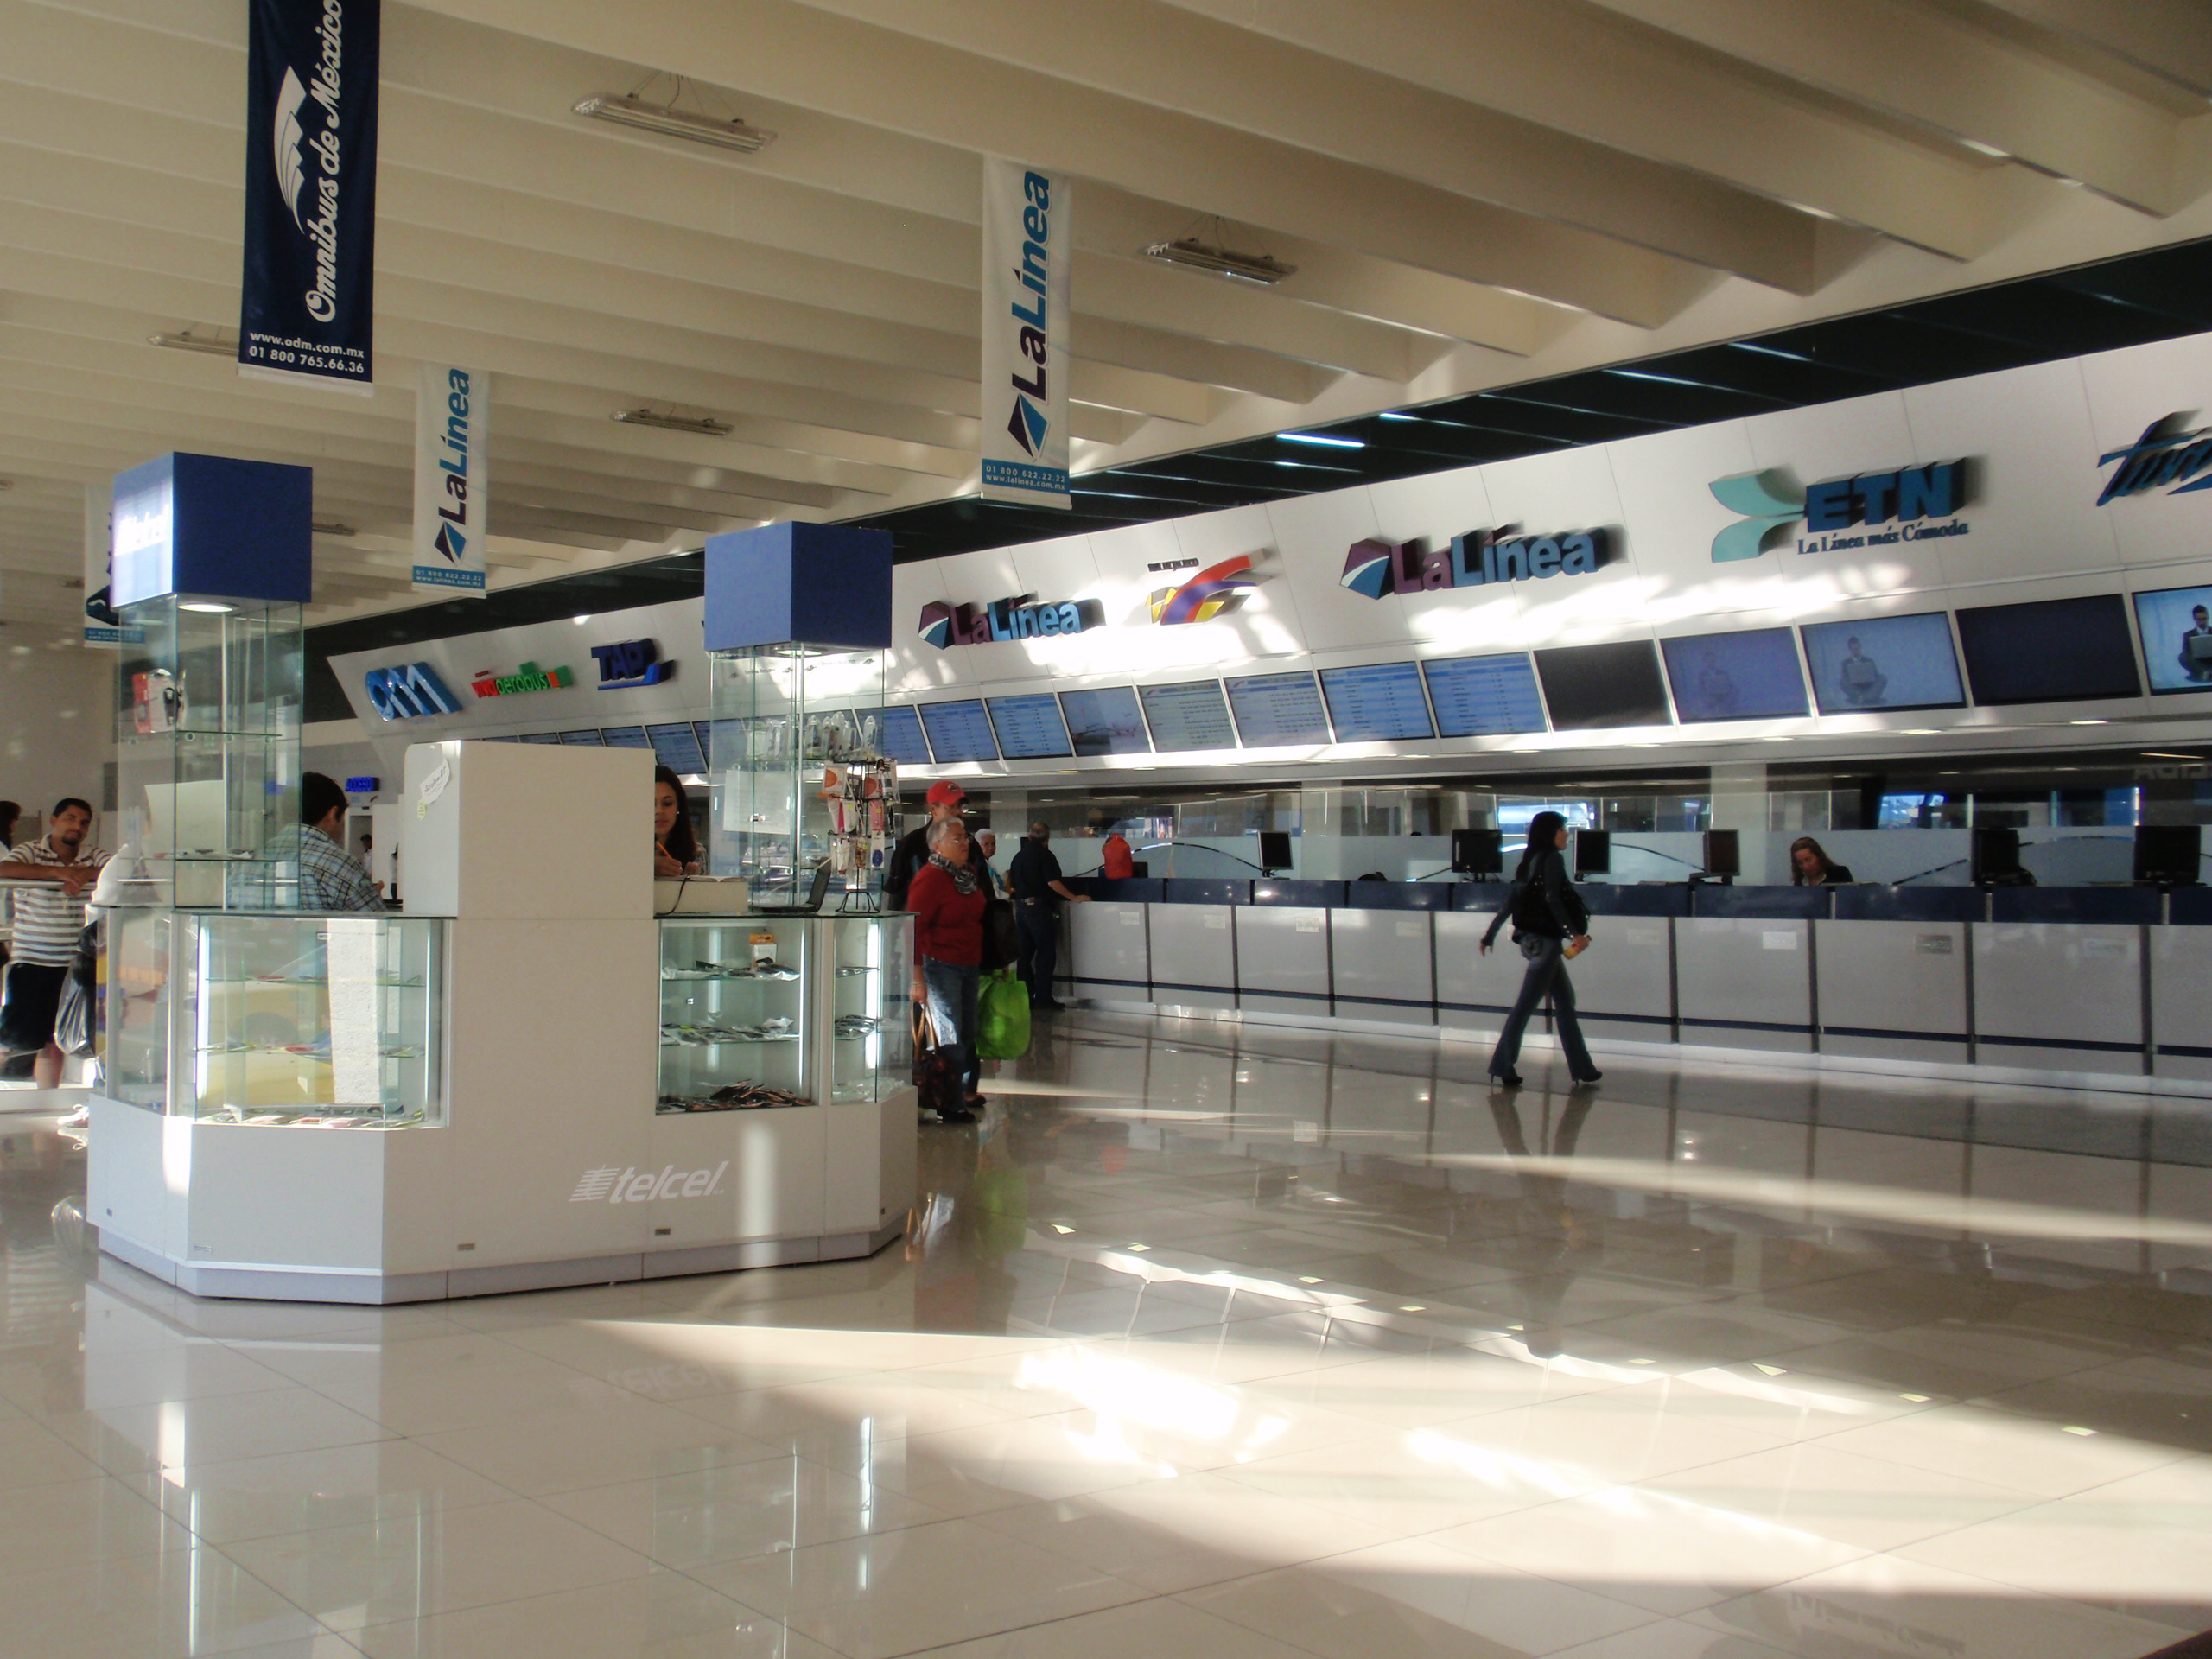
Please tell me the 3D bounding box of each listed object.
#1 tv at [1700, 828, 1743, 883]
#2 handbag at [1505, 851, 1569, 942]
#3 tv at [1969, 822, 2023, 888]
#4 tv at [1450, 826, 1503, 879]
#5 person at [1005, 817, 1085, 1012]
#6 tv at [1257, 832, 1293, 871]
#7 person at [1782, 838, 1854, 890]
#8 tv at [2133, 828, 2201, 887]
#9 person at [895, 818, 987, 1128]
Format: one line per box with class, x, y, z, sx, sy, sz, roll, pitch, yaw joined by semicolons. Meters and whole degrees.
tv;5.558;0.215;14.270;0.313;0.430;0.192;0;-1;16
handbag;3.225;0.497;11.651;0.524;0.609;0.227;0;-1;16
tv;7.140;0.198;12.579;0.394;0.430;0.354;0;-1;27
tv;3.664;0.237;15.614;0.579;0.472;0.281;-1;-2;30
person;-0.714;1.017;17.802;0.662;1.997;1.475;0;-1;4
tv;1.843;0.237;17.171;0.156;0.377;0.472;0;-1;-35
person;6.000;0.259;13.234;0.446;0.410;1.072;0;-1;25
tv;7.949;0.226;11.901;0.503;0.386;0.466;-5;-11;44
person;-0.987;0.877;9.900;0.438;2.000;1.154;0;-1;-5
